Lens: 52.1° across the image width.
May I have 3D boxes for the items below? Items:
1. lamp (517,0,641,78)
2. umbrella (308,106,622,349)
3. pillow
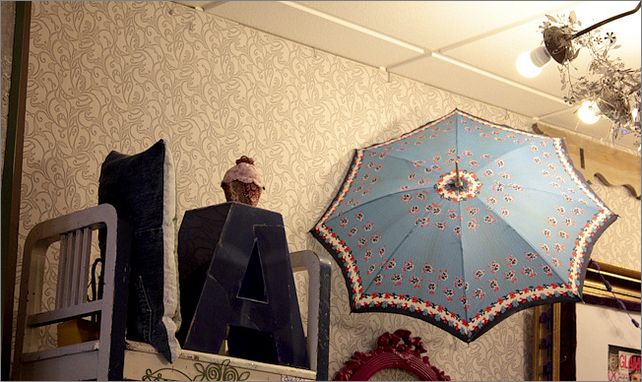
[{"bbox_3d":[1.226,-0.738,3.116,0.662,0.206,0.182,-27,-35,36],"label":"lamp"},{"bbox_3d":[0.721,0.253,3.346,1.160,1.226,0.603,5,-34,7],"label":"umbrella"},{"bbox_3d":[-0.659,0.248,2.369,0.234,0.869,0.707,3,-9,-33],"label":"pillow"}]
